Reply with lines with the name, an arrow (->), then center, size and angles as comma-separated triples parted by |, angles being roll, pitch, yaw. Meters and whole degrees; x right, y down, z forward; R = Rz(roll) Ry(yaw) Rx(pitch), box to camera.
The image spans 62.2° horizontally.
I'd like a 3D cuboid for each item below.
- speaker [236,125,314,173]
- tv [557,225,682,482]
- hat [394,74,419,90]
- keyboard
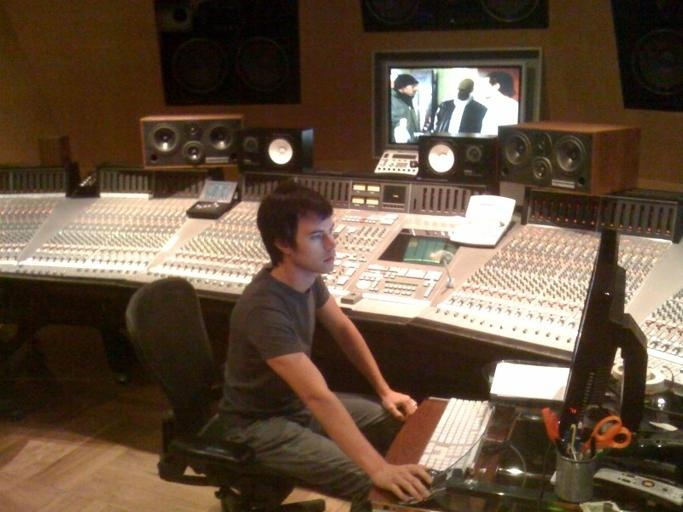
speaker -> -0.411, -0.651, 3.433 | 0.434, 0.272, 0.235 | 8, 18, 16
tv -> 0.847, 0.301, 1.696 | 0.243, 0.610, 0.624 | 15, 2, 24
hat -> 0.374, -1.012, 3.288 | 0.105, 0.054, 0.071 | -8, 7, 7
keyboard -> 0.347, 0.533, 1.675 | 0.113, 0.024, 0.316 | 2, 24, 27
